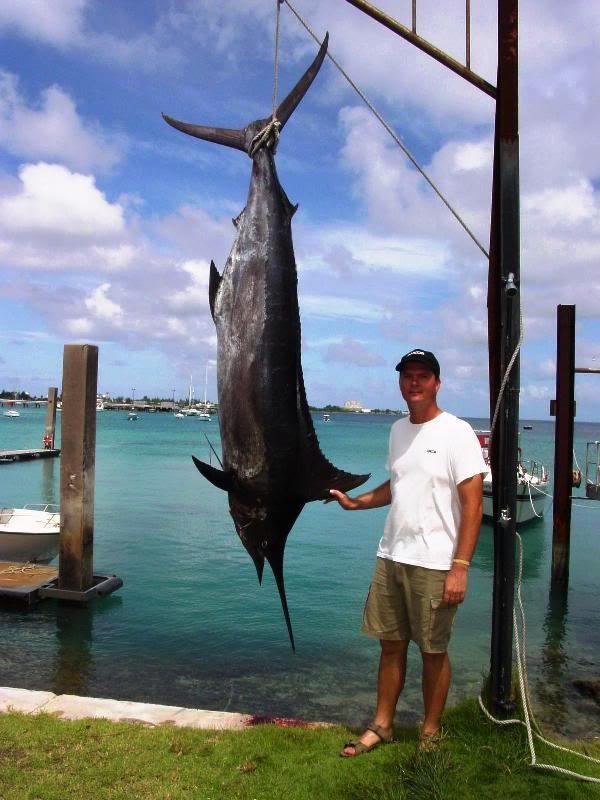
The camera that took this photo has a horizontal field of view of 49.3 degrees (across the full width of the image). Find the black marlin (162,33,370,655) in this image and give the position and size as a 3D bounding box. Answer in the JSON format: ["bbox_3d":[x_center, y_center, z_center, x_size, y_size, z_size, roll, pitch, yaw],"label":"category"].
[{"bbox_3d":[-0.161,-0.272,2.774,0.678,2.470,0.581,-2,-6,-43],"label":"black marlin"}]

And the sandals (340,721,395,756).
[{"bbox_3d":[0.389,1.796,3.484,0.345,0.133,0.115,8,-24,-36],"label":"sandals"}]

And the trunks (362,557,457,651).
[{"bbox_3d":[0.543,1.009,3.331,0.420,0.414,0.250,0,-2,41],"label":"trunks"}]
